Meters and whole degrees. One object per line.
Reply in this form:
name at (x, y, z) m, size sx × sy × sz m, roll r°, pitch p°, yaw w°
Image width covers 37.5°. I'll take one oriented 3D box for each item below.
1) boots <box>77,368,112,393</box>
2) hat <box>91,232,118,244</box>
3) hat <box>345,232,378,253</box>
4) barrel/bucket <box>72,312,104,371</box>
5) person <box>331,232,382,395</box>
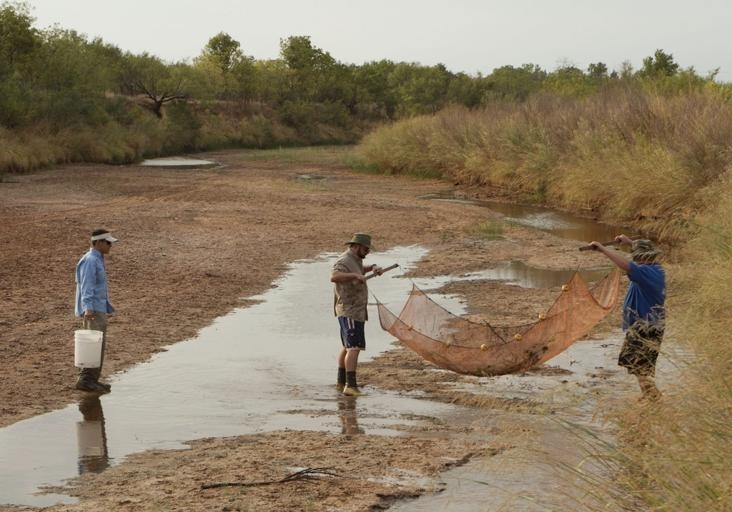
boots at (-4.610, 2.096, 17.947) m, size 0.673 × 0.489 × 0.327 m, roll 1°, pitch 0°, yaw -12°
hat at (-4.512, -0.314, 18.360) m, size 0.521 × 0.134 × 0.278 m, roll 1°, pitch 2°, yaw -15°
hat at (-0.064, -0.251, 18.500) m, size 0.443 × 0.211 × 0.441 m, roll 12°, pitch -2°, yaw 14°
barrel/bucket at (-4.707, 1.434, 18.105) m, size 0.584 × 0.775 × 0.501 m, roll -1°, pitch 2°, yaw -13°
person at (-0.262, 0.966, 18.171) m, size 0.653 × 2.624 × 1.032 m, roll 0°, pitch 12°, yaw 2°
